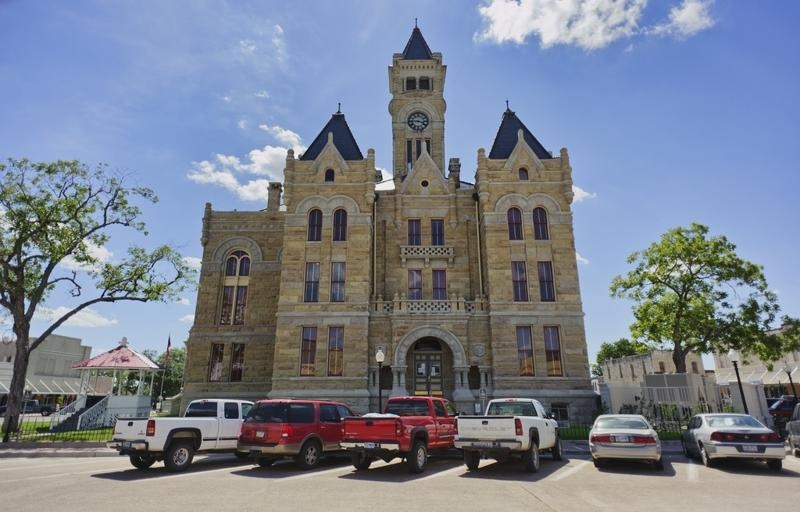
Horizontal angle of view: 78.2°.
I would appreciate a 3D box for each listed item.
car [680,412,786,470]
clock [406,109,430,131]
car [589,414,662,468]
[{"bbox_3d":[13.781,7.833,20.794,2.422,2.171,3.317,3,-10,-14],"label":"car"},{"bbox_3d":[1.769,-13.282,48.184,2.094,1.887,0.121,-9,-2,1],"label":"clock"},{"bbox_3d":[9.248,7.716,20.389,2.677,2.048,1.540,-2,-11,12],"label":"car"}]
